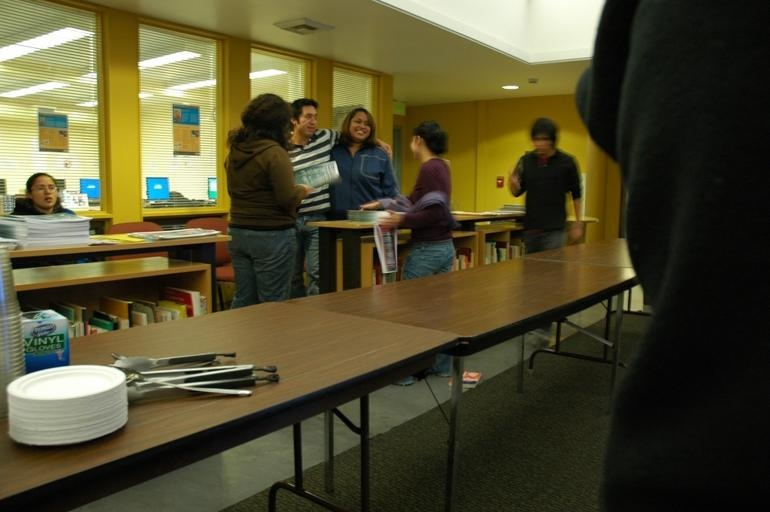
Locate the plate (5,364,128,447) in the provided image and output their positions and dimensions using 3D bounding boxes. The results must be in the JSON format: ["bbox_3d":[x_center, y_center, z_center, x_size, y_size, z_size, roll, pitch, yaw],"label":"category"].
[{"bbox_3d":[-0.543,0.235,0.969,0.157,0.060,0.147,1,6,2],"label":"plate"}]

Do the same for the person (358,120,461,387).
[{"bbox_3d":[0.168,-0.045,3.839,0.721,1.643,0.595,0,2,-2],"label":"person"}]

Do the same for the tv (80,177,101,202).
[{"bbox_3d":[-2.875,-0.649,5.485,0.094,0.240,0.266,-3,2,39],"label":"tv"}]

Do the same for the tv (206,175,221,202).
[{"bbox_3d":[-1.986,-0.777,6.512,0.063,0.292,0.142,8,11,22],"label":"tv"}]

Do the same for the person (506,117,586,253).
[{"bbox_3d":[1.351,-0.338,4.815,0.702,1.582,0.514,3,6,13],"label":"person"}]

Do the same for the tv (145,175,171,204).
[{"bbox_3d":[-2.423,-0.713,5.995,0.031,0.268,0.315,10,14,37],"label":"tv"}]
